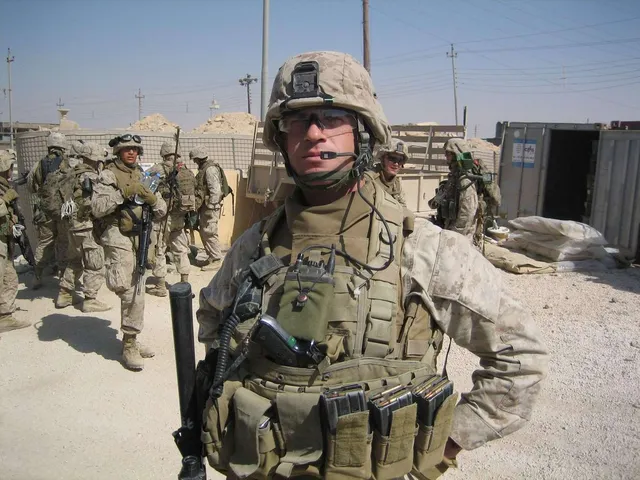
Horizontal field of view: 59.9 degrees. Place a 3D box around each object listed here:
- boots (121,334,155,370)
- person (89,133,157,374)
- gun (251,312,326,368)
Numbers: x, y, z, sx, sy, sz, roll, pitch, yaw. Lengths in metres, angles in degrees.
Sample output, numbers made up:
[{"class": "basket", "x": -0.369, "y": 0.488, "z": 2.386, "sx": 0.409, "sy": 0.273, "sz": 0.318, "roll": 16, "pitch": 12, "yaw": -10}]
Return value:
[{"class": "boots", "x": -2.078, "y": 1.237, "z": 6.179, "sx": 0.174, "sy": 0.317, "sz": 0.412, "roll": -2, "pitch": 19, "yaw": -40}, {"class": "person", "x": -2.238, "y": 0.123, "z": 6.318, "sx": 0.769, "sy": 2.583, "sz": 0.785, "roll": 1, "pitch": 9, "yaw": 4}, {"class": "gun", "x": -0.160, "y": 0.519, "z": 2.835, "sx": 0.347, "sy": 0.278, "sz": 0.069, "roll": 0, "pitch": 9, "yaw": 2}]
